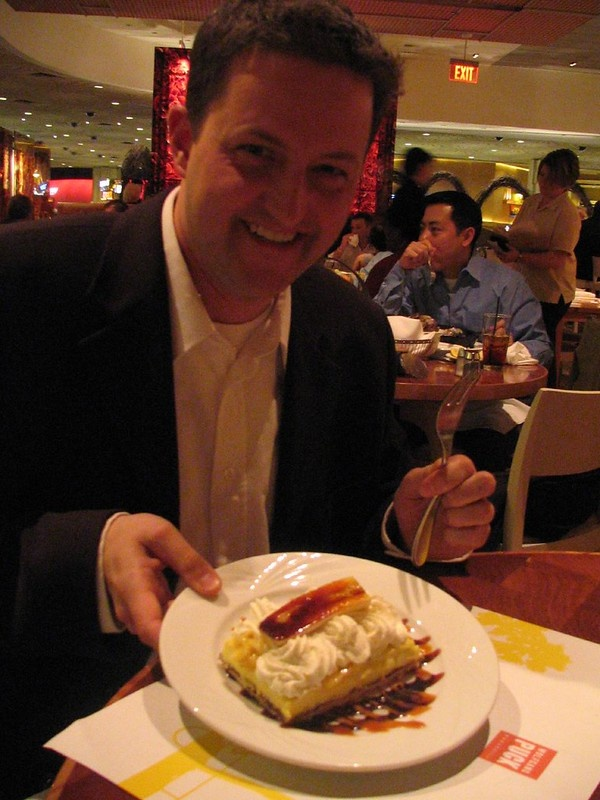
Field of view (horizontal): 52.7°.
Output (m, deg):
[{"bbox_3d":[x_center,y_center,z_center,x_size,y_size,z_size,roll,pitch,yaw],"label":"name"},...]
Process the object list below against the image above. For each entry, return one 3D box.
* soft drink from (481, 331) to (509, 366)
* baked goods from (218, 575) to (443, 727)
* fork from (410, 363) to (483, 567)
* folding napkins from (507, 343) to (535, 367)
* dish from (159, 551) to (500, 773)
[{"bbox_3d":[0.856,-0.234,2.698,0.133,0.146,0.136,1,6,-13],"label":"soft drink"},{"bbox_3d":[0.031,0.244,0.589,0.120,0.038,0.118,-6,19,-35],"label":"baked goods"},{"bbox_3d":[0.205,0.055,0.852,0.036,0.030,0.262,27,44,-1],"label":"fork"},{"bbox_3d":[1.026,-0.204,2.824,0.122,0.042,0.120,16,26,8],"label":"folding napkins"},{"bbox_3d":[0.050,0.244,0.557,0.179,0.028,0.162,0,18,-27],"label":"dish"}]
